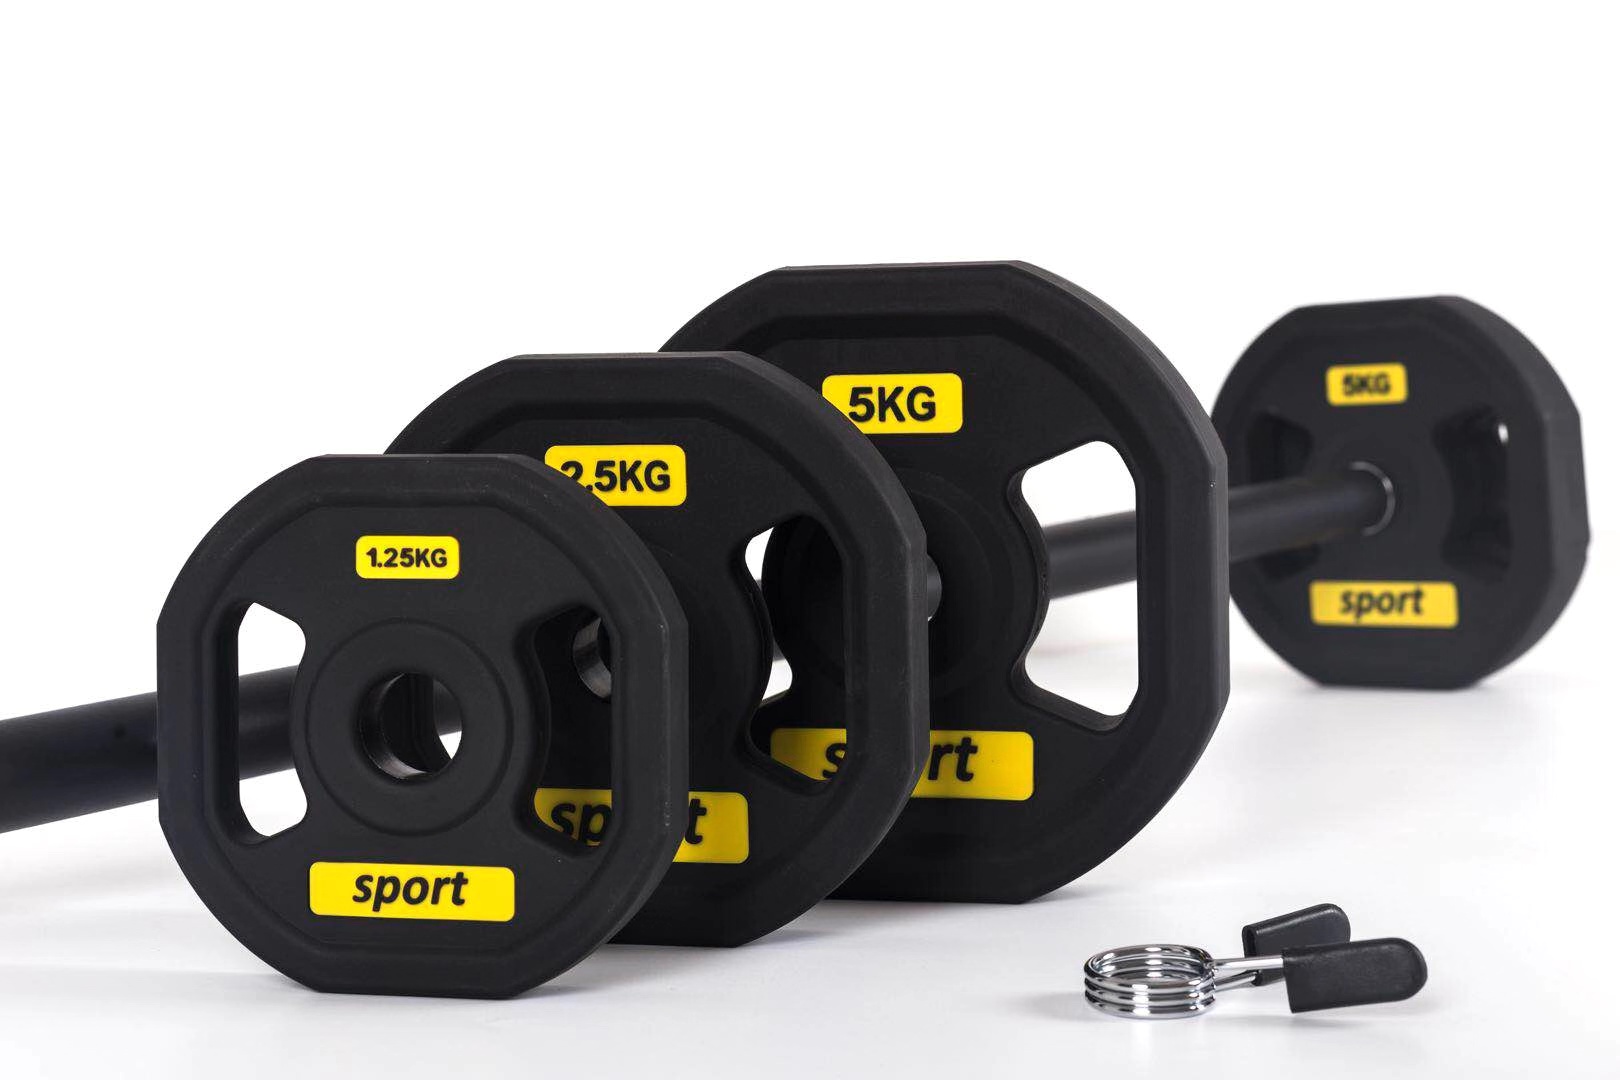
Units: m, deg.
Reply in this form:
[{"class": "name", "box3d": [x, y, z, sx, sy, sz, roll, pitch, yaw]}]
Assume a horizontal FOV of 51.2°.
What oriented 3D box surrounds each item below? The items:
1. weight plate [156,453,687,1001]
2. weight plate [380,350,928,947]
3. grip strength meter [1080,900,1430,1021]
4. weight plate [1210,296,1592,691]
[{"class": "weight plate", "box3d": [-0.375, 0.161, 1.532, 0.520, 0.478, 0.112, 0, 7, 11]}, {"class": "weight plate", "box3d": [-0.191, 0.106, 1.703, 0.610, 0.597, 0.093, 0, 4, 9]}, {"class": "grip strength meter", "box3d": [0.384, 0.375, 1.472, 0.277, 0.077, 0.208, -6, -3, -6]}, {"class": "weight plate", "box3d": [0.998, -0.075, 2.863, 0.605, 0.727, 0.391, -1, 3, 35]}]
